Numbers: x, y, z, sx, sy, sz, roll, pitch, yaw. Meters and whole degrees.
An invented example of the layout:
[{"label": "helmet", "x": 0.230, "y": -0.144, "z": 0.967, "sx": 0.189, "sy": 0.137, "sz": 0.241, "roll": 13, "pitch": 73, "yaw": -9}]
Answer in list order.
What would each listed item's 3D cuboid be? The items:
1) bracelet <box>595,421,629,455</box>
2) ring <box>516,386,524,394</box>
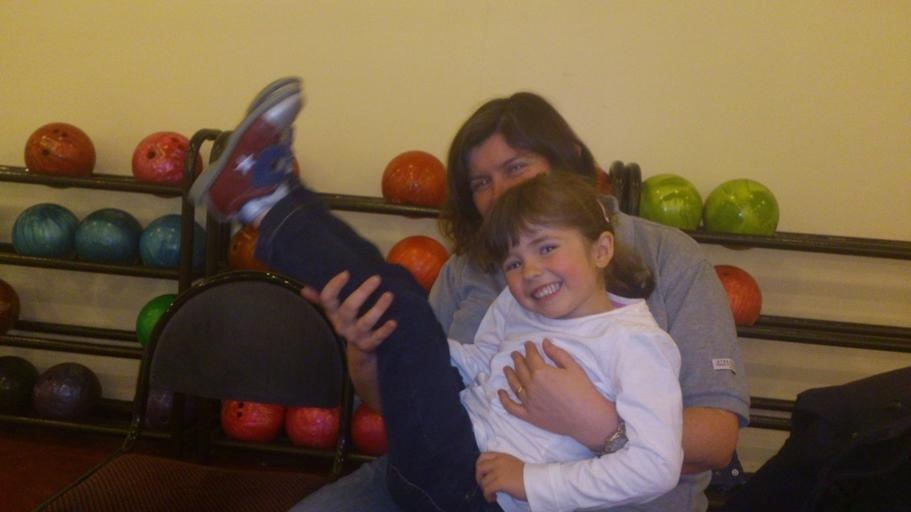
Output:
[{"label": "bracelet", "x": 0.709, "y": 0.815, "z": 3.133, "sx": 0.052, "sy": 0.140, "sz": 0.110, "roll": 37, "pitch": 12, "yaw": -15}, {"label": "ring", "x": 0.295, "y": 0.609, "z": 3.226, "sx": 0.008, "sy": 0.031, "sz": 0.033, "roll": 14, "pitch": -18, "yaw": -41}]
